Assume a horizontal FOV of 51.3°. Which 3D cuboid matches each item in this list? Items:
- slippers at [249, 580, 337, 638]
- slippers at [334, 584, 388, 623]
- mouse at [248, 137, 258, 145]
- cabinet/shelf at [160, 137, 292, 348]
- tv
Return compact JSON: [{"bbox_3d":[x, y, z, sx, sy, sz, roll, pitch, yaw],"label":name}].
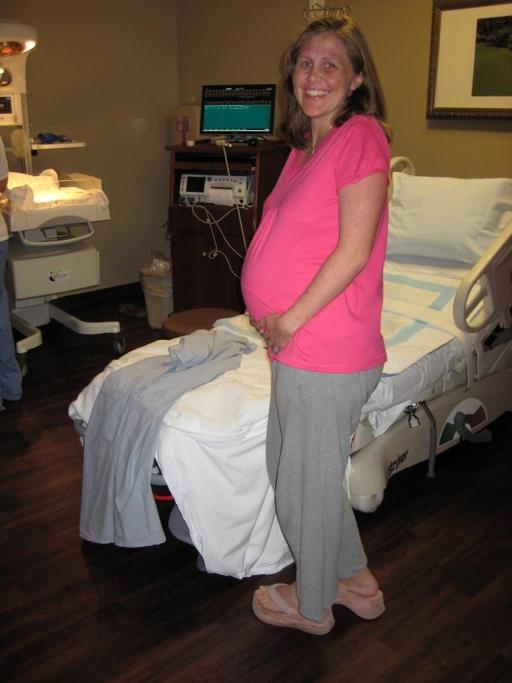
[{"bbox_3d":[0.101,0.643,1.341,0.181,0.062,0.105,10,13,33],"label":"slippers"},{"bbox_3d":[0.264,0.661,1.353,0.128,0.052,0.069,9,29,28],"label":"slippers"},{"bbox_3d":[-0.017,-1.230,3.265,0.044,0.014,0.060,-1,49,6],"label":"mouse"},{"bbox_3d":[-0.315,-0.774,3.647,0.804,1.176,0.849,21,36,23],"label":"cabinet/shelf"},{"bbox_3d":[-0.112,-1.430,3.347,0.474,0.314,0.123,6,20,17],"label":"tv"}]
